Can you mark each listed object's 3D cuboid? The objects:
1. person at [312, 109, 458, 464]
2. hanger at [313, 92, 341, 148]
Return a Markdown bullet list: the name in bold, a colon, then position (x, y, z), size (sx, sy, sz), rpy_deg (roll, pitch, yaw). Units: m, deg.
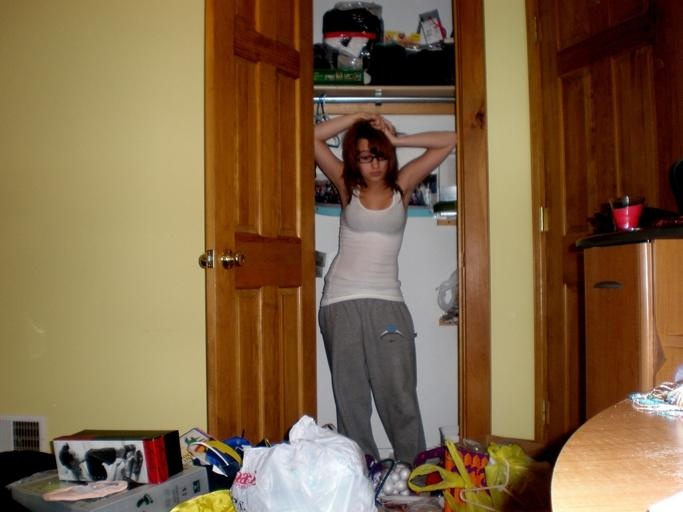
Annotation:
- **person**: position (0.192, 0.288, 3.563), size (0.638, 2.027, 0.386), rpy_deg (-2, 17, -6)
- **hanger**: position (-0.089, -0.762, 3.813), size (0.216, 0.252, 0.063), rpy_deg (-4, -7, 22)
